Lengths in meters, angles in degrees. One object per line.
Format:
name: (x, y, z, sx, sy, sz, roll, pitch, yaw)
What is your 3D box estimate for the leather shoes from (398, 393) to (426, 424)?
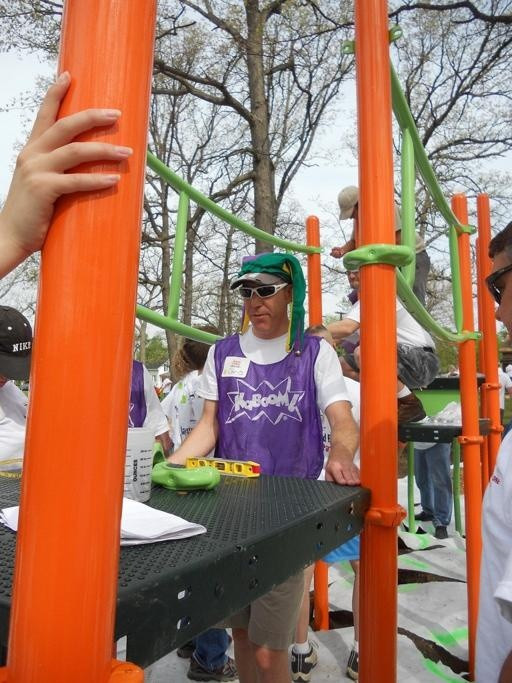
leather shoes: (0.898, 0.392, 3.583, 0.142, 0.179, 0.380, -1, -4, 16)

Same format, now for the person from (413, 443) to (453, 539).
person: (1.704, 1.398, 5.889, 0.328, 0.809, 0.938, -1, -4, 12)

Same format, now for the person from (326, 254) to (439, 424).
person: (0.715, -0.018, 3.963, 0.835, 1.032, 0.569, -4, -3, 2)

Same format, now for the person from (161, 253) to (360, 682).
person: (0.036, 0.418, 2.164, 0.592, 1.651, 1.024, 1, -4, -11)

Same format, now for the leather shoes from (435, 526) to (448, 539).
leather shoes: (1.647, 1.708, 5.485, 0.116, 0.068, 0.206, -1, -4, 15)
